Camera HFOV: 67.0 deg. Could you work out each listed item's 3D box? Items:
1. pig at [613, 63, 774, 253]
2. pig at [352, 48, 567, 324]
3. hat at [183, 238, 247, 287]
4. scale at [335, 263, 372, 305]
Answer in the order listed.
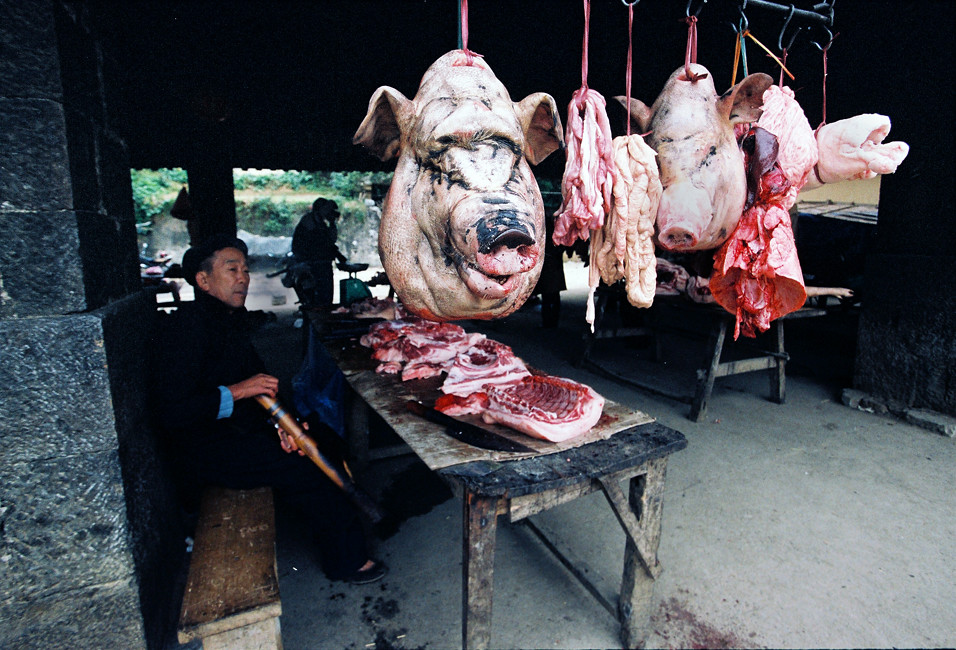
[{"bbox_3d":[1.395,-1.103,5.093,1.072,1.271,0.977,-8,21,-42],"label":"pig"},{"bbox_3d":[0.020,-0.847,4.561,1.254,1.726,1.295,1,18,-19],"label":"pig"},{"bbox_3d":[-2.059,-0.516,5.676,0.489,0.388,0.451,-1,15,-20],"label":"hat"},{"bbox_3d":[-1.469,-0.475,8.519,0.313,0.500,0.376,13,17,35],"label":"scale"}]
